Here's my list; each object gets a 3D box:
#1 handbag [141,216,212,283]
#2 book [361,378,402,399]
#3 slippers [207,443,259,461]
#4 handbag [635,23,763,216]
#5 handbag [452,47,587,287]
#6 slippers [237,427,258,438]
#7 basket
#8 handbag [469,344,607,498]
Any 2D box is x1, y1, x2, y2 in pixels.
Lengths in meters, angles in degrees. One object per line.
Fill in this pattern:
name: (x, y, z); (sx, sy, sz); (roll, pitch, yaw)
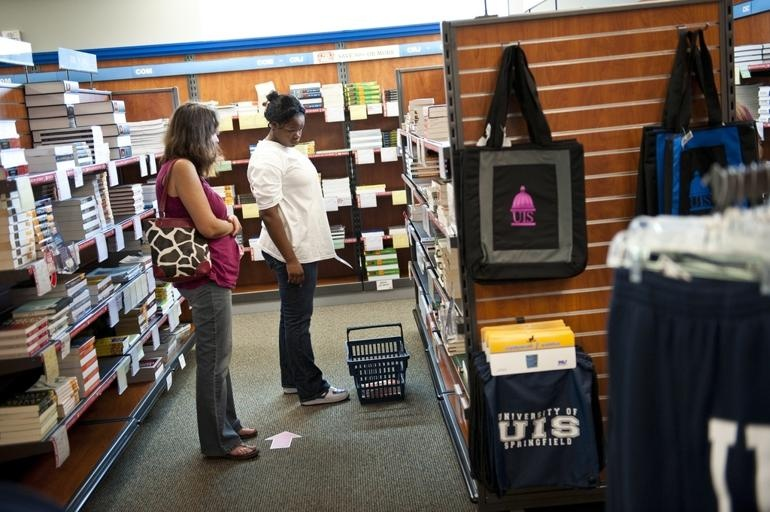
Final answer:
handbag: (-1.280, -0.041, 4.122); (0.494, 0.519, 0.205); (-2, 5, -1)
book: (-0.023, 0.995, 4.935); (0.243, 0.088, 0.155); (-1, 2, -7)
slippers: (-1.033, 1.320, 4.497); (0.326, 0.120, 0.121); (-4, 10, -3)
handbag: (1.602, -0.690, 3.412); (0.513, 0.934, 0.382); (-10, 13, -30)
handbag: (0.700, -0.475, 3.485); (0.676, 1.210, 0.230); (-2, 11, 5)
slippers: (-0.978, 1.245, 4.694); (0.138, 0.058, 0.051); (-3, 10, -8)
basket: (-0.065, 0.808, 5.229); (0.459, 0.422, 0.617); (-4, 11, -1)
handbag: (0.726, 0.852, 3.729); (0.943, 0.915, 0.623); (-2, 10, 4)
